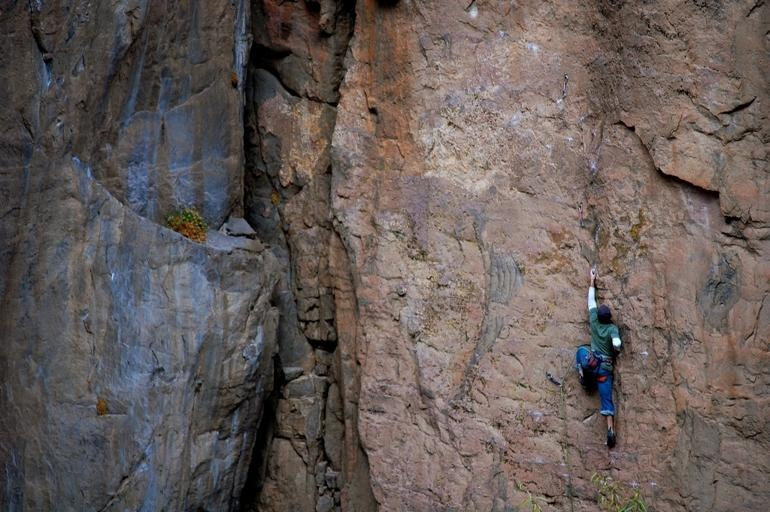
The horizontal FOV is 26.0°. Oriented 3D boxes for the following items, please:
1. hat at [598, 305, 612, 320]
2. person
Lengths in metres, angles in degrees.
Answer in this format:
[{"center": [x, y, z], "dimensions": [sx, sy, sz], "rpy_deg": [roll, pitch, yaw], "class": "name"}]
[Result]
[{"center": [3.368, 0.920, 25.424], "dimensions": [0.129, 0.255, 0.117], "rpy_deg": [0, -14, 17], "class": "hat"}, {"center": [3.306, 1.514, 25.593], "dimensions": [0.668, 2.582, 0.942], "rpy_deg": [5, -24, -2], "class": "person"}]
